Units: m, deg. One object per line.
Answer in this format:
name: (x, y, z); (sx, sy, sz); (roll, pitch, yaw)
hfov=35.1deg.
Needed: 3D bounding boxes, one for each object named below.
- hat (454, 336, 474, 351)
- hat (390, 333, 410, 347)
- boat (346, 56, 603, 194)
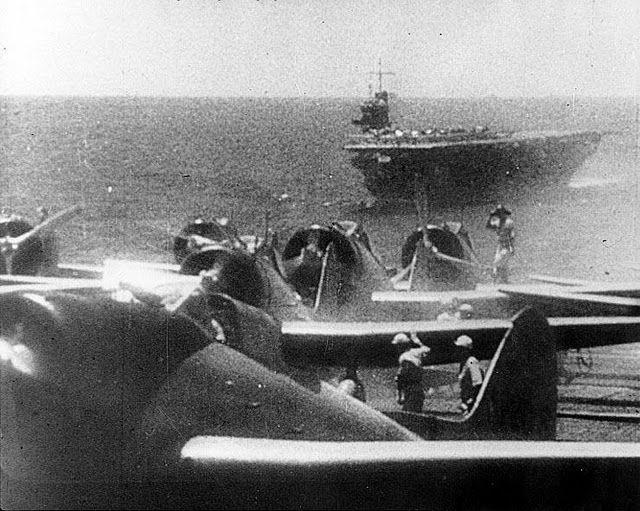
hat: (0.811, 0.488, 5.668); (0.107, 0.066, 0.035); (19, -30, -7)
hat: (0.455, 0.474, 5.675); (0.081, 0.058, 0.061); (3, 3, 15)
boat: (0.757, -0.731, 5.710); (0.946, 0.612, 0.631); (-3, 13, -2)
